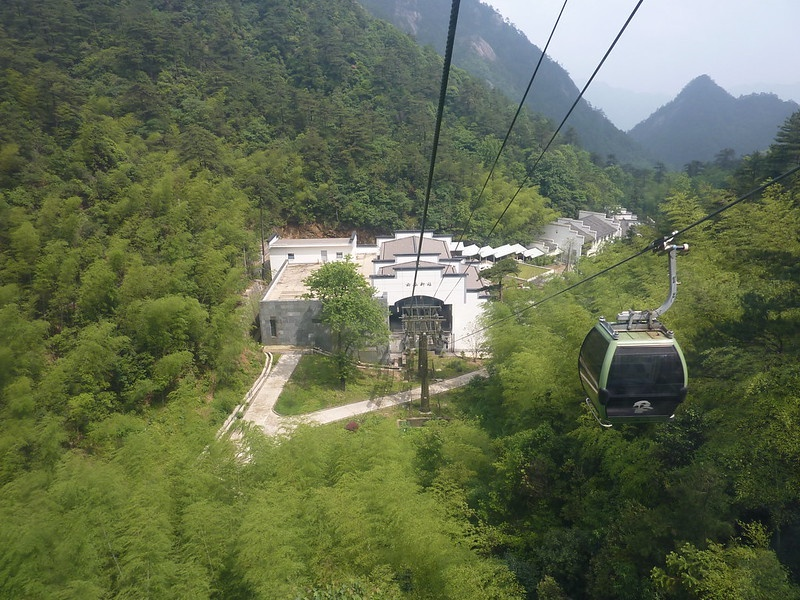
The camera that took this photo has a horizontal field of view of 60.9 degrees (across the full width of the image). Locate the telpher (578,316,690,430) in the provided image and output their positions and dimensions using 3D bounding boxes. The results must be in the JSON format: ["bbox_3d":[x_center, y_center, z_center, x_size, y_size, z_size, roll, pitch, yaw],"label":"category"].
[{"bbox_3d":[6.882,1.795,20.315,3.007,3.869,3.035,0,6,4],"label":"telpher"}]

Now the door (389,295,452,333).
[{"bbox_3d":[1.175,0.841,38.024,3.570,2.029,1.576,4,11,-1],"label":"door"}]
